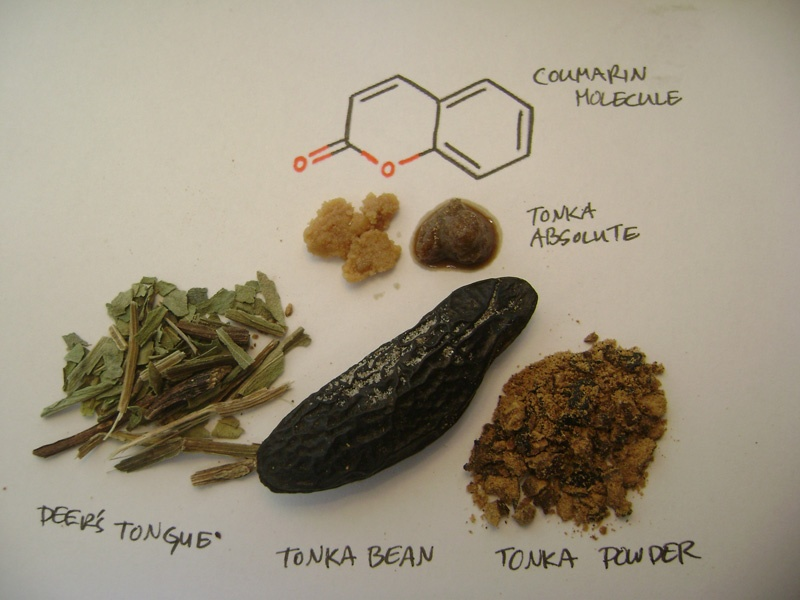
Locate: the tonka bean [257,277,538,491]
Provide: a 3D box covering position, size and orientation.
[{"bbox_3d":[-0.010,0.432,3.965,1.541,0.711,0.264,-19,16,-12],"label":"tonka bean"}]

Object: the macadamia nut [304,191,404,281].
[{"bbox_3d":[-0.223,-0.339,4.088,0.460,0.474,0.128,15,-4,2],"label":"macadamia nut"}]
